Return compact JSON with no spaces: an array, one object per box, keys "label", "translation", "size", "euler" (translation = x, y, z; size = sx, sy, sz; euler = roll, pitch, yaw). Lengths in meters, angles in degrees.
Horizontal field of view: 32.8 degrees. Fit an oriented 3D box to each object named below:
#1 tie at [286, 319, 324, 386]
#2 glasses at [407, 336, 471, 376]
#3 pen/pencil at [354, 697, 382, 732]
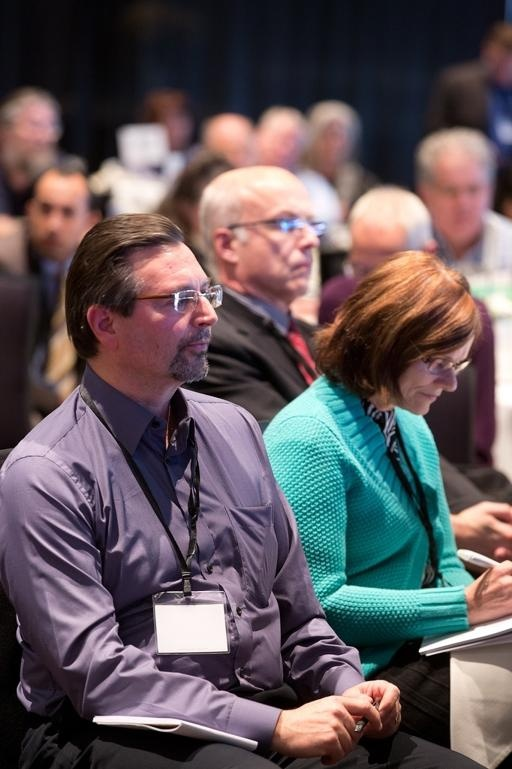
[{"label":"tie","translation":[0.134,-0.095,2.469],"size":[0.121,0.167,0.061],"euler":[8,25,32]},{"label":"glasses","translation":[0.331,-0.050,1.585],"size":[0.085,0.028,0.085],"euler":[-36,-27,25]},{"label":"pen/pencil","translation":[0.167,0.486,1.315],"size":[0.020,0.018,0.072],"euler":[23,49,17]}]
